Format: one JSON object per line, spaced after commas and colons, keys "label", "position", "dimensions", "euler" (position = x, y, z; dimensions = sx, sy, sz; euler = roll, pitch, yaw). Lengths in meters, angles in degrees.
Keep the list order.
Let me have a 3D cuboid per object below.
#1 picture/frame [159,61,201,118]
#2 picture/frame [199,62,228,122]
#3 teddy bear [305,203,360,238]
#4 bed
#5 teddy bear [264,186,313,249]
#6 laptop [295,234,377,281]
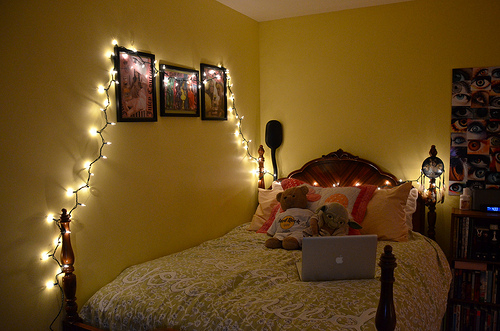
{"label": "picture/frame", "position": [-0.695, -0.724, 3.481], "dimensions": [0.040, 0.559, 0.557], "euler": [0, 4, 39]}
{"label": "picture/frame", "position": [-0.407, -0.776, 3.843], "dimensions": [0.048, 0.753, 0.621], "euler": [3, 4, 31]}
{"label": "teddy bear", "position": [0.739, 0.506, 3.242], "dimensions": [0.447, 0.423, 0.283], "euler": [10, -17, 10]}
{"label": "bed", "position": [0.064, 0.621, 3.083], "dimensions": [1.255, 1.059, 1.756], "euler": [9, 20, 40]}
{"label": "teddy bear", "position": [0.392, 0.499, 3.526], "dimensions": [0.471, 0.659, 0.474], "euler": [3, -15, -8]}
{"label": "laptop", "position": [0.661, 0.646, 2.874], "dimensions": [0.567, 0.389, 0.427], "euler": [-3, 15, -1]}
